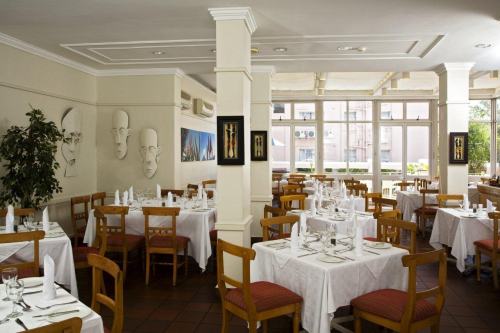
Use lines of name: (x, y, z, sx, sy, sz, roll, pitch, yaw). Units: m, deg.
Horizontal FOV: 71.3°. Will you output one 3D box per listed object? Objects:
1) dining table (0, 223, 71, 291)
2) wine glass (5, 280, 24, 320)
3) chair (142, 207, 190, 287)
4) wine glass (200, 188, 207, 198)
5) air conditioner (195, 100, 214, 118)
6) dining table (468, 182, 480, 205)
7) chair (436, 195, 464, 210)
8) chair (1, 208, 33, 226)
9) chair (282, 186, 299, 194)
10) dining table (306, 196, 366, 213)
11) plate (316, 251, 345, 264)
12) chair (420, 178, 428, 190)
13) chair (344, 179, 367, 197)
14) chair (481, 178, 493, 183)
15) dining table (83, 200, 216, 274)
dining table: (-3.349, 1.412, 5.751, 1.023, 0.533, 1.021, 4, -7, -29)
wine glass: (-2.557, 1.422, 3.799, 0.139, 0.382, 0.301, -2, 0, -36)
chair: (-1.631, 1.465, 6.841, 0.863, 1.474, 1.080, -2, 0, -17)
wine glass: (-0.992, 0.598, 7.632, 0.076, 0.213, 0.425, -2, -1, -11)
air conditioner: (-1.579, -2.000, 11.984, 0.278, 0.613, 1.523, -2, -1, 10)
dining table: (6.903, 0.818, 10.764, 0.247, 0.678, 0.800, -2, -1, 33)
chair: (4.732, 0.847, 8.215, 0.415, 0.411, 0.306, 0, -4, -4)
chair: (-4.166, 0.901, 6.262, 0.417, 0.454, 0.308, 1, 3, -4)
chair: (1.078, 0.616, 9.152, 0.369, 0.270, 0.975, -2, -1, 9)
dining table: (2.314, 0.894, 8.380, 0.718, 0.354, 0.717, 1, -3, -26)
plate: (1.096, 1.238, 4.693, 0.341, 0.126, 0.275, -3, -1, 33)
chair: (5.714, 0.574, 11.482, 0.198, 0.312, 0.977, -2, -1, 24)
chair: (2.989, 0.613, 9.912, 0.369, 0.523, 0.402, -6, 10, -23)
chair: (6.978, 0.418, 10.264, 0.148, 0.166, 0.159, -10, 11, -39)
dining table: (-1.643, 1.223, 6.742, 1.709, 0.651, 1.751, 0, -6, 16)
